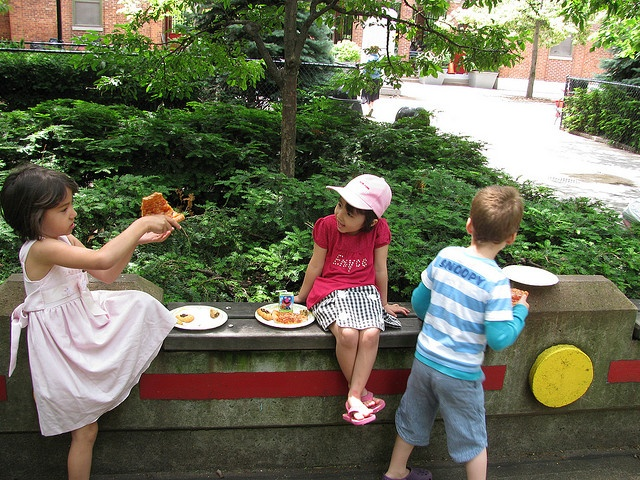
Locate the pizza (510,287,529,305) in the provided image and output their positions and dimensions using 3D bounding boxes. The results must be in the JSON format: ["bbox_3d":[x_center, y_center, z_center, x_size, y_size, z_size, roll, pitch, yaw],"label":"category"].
[{"bbox_3d":[1.305,0.368,3.441,0.149,0.053,0.109,-8,39,-15],"label":"pizza"}]

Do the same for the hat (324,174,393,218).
[{"bbox_3d":[0.253,-0.334,3.618,0.298,0.205,0.429,25,7,26],"label":"hat"}]

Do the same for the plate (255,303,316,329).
[{"bbox_3d":[-0.242,0.535,3.561,0.222,0.026,0.206,6,18,7],"label":"plate"}]

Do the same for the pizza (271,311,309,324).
[{"bbox_3d":[-0.204,0.533,3.571,0.159,0.028,0.104,-1,16,-23],"label":"pizza"}]

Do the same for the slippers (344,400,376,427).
[{"bbox_3d":[0.246,1.112,3.307,0.200,0.148,0.134,7,13,15],"label":"slippers"}]
